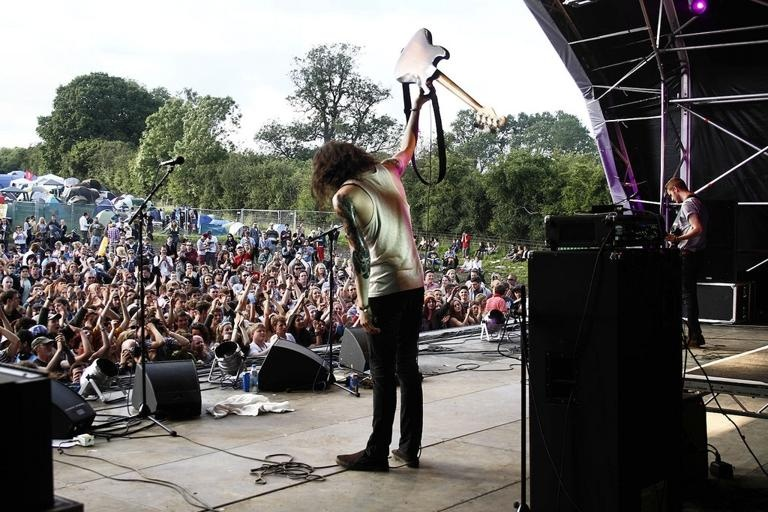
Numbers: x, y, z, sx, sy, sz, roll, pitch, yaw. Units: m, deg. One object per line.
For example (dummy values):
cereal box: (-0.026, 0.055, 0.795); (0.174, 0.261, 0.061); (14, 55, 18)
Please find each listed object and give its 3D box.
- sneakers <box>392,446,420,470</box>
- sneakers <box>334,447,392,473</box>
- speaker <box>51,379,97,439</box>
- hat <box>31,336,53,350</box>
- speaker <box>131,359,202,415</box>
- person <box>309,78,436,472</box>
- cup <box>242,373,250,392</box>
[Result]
sneakers: (0.158, 1.388, 5.116); (0.079, 0.087, 0.210); (7, 4, -41)
sneakers: (-0.137, 1.379, 5.089); (0.338, 0.144, 0.147); (4, -10, 8)
speaker: (-2.332, 1.150, 5.543); (0.354, 0.411, 0.222); (0, -1, 2)
hat: (-3.167, 0.807, 6.893); (0.148, 0.075, 0.111); (-7, -4, -12)
speaker: (-1.771, 1.044, 6.105); (0.441, 0.433, 0.463); (1, -3, -35)
person: (-0.043, 0.143, 5.075); (0.812, 2.613, 0.375); (0, -1, -32)
cup: (-1.254, 1.142, 6.801); (0.074, 0.163, 0.184); (0, -1, -10)
